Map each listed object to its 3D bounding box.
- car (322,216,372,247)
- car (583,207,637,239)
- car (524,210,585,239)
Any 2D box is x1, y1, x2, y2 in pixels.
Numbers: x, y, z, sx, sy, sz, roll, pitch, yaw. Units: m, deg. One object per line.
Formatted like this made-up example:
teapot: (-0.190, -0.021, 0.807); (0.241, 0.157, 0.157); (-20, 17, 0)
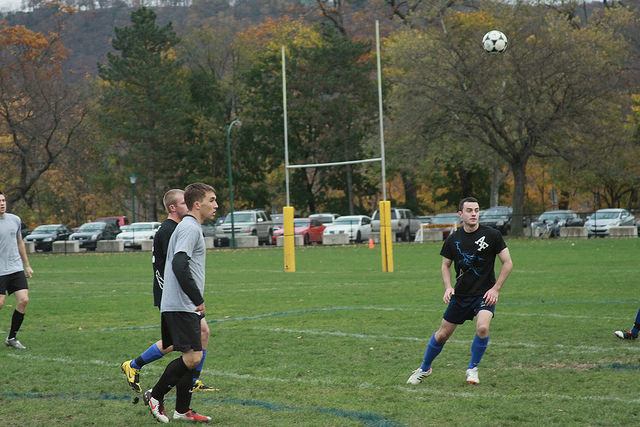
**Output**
car: (1.618, 1.222, 72.315); (2.039, 1.760, 4.869); (2, 8, 18)
car: (17.650, 0.588, 69.883); (2.766, 1.404, 4.881); (2, 8, 20)
car: (15.141, 0.573, 72.649); (2.214, 1.608, 4.836); (6, 7, 35)
